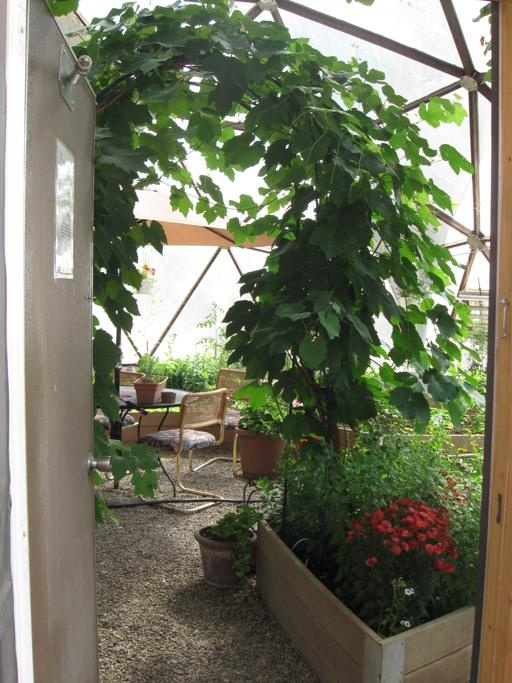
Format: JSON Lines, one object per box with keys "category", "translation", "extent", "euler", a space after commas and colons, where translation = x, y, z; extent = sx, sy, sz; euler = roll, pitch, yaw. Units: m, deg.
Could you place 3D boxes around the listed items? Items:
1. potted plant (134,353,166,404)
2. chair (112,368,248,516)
{"category": "potted plant", "translation": [-0.930, 0.392, 4.637], "extent": [0.206, 0.219, 0.582], "euler": [9, 1, -1]}
{"category": "chair", "translation": [-0.608, 0.865, 4.985], "extent": [0.963, 1.144, 1.876], "euler": [4, 0, -1]}
